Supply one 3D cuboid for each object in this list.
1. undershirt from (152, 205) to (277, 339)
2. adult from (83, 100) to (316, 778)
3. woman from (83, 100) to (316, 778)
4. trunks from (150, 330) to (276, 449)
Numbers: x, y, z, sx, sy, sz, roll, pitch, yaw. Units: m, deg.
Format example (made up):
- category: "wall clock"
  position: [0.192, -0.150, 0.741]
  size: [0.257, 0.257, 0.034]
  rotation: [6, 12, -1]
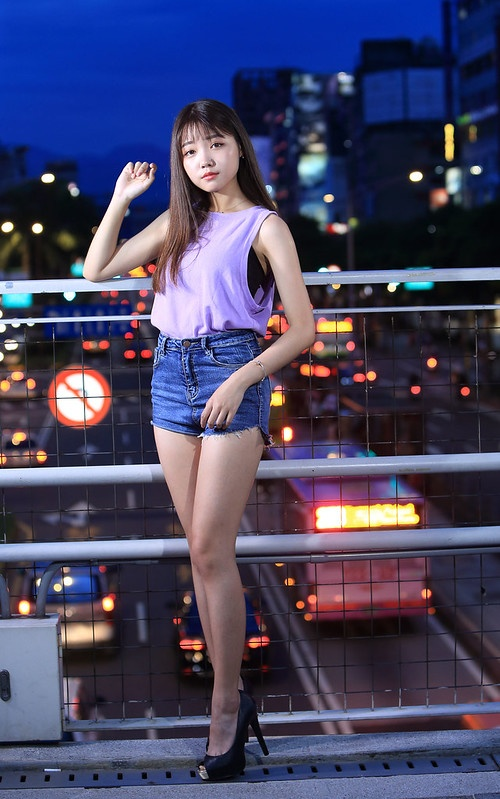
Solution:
- category: "undershirt"
  position: [-0.100, -0.359, 2.554]
  size: [0.237, 0.387, 0.348]
  rotation: [17, -3, -43]
- category: "adult"
  position: [-0.082, 0.120, 2.567]
  size: [0.438, 1.946, 0.372]
  rotation: [5, -9, -16]
- category: "woman"
  position: [-0.082, 0.120, 2.567]
  size: [0.438, 1.946, 0.372]
  rotation: [5, -9, -16]
- category: "trunks"
  position: [-0.104, -0.042, 2.644]
  size: [0.416, 0.335, 0.248]
  rotation: [4, 7, 38]
